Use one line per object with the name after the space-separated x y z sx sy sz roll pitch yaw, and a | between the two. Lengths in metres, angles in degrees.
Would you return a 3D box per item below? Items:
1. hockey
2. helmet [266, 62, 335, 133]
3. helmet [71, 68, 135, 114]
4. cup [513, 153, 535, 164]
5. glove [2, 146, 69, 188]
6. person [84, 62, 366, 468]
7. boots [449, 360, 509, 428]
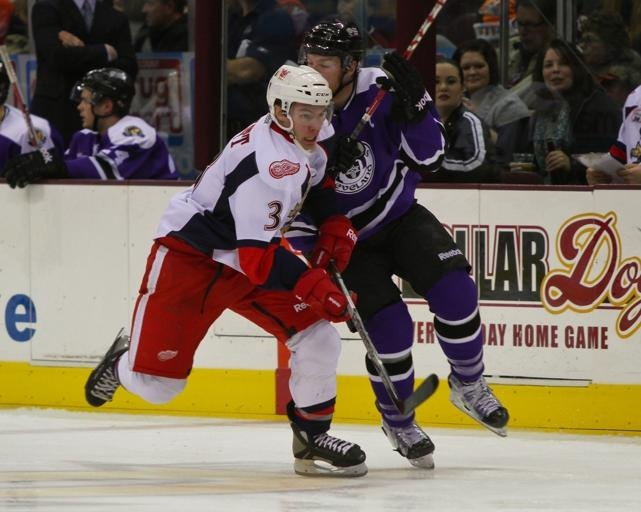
0.325 0.357 5.428 0.121 0.970 0.192 -17 -34 -13 | hockey
-0.083 -0.669 4.936 0.231 0.263 0.294 -7 19 -41 | helmet
-1.235 -0.980 6.809 0.348 0.243 0.242 11 13 4 | helmet
1.119 -0.533 6.408 0.070 0.043 0.066 1 1 0 | cup
-1.586 -0.485 6.465 0.341 0.203 0.134 -2 8 -12 | glove
-0.367 0.089 5.001 1.114 1.796 0.514 0 8 2 | person
0.715 0.635 5.450 0.416 0.144 0.177 36 -6 37 | boots
